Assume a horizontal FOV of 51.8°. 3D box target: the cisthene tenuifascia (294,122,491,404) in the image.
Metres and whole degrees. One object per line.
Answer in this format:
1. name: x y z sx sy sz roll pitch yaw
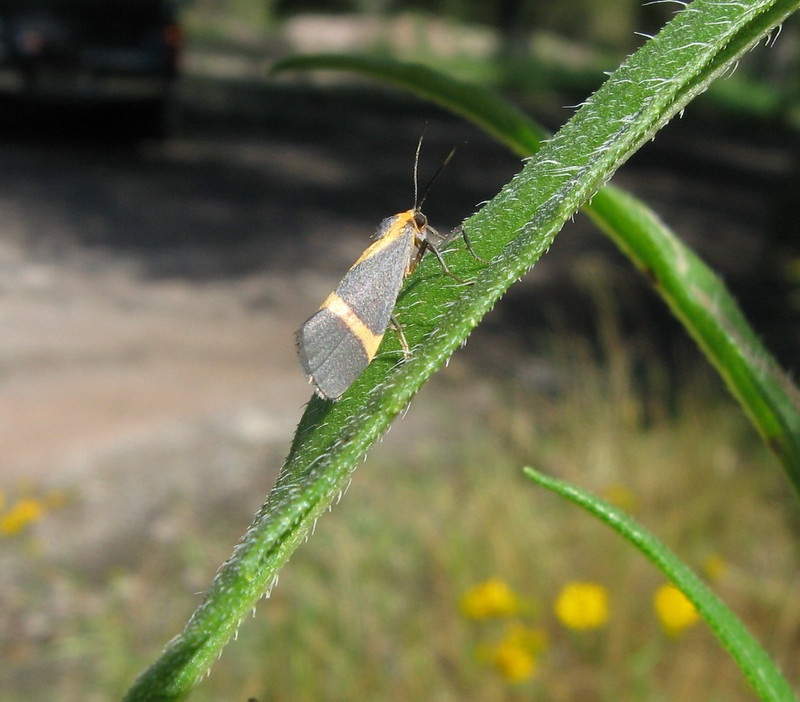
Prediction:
1. cisthene tenuifascia: -0.014 -0.120 1.392 0.486 0.204 0.286 -46 27 -14

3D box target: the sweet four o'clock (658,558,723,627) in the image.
1. sweet four o'clock: 0.488 0.459 1.464 0.085 0.064 0.061 30 34 33
